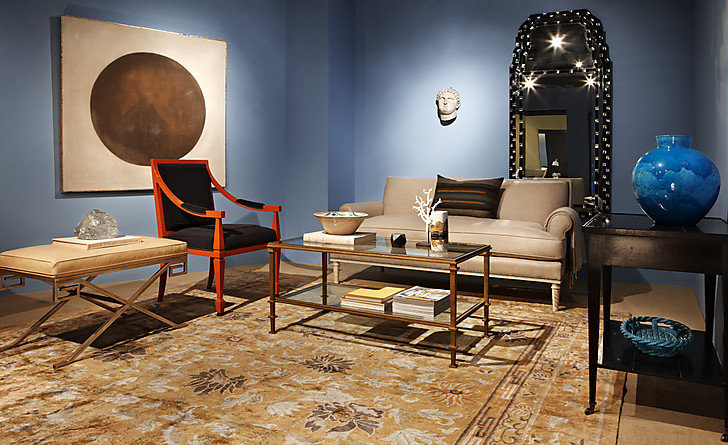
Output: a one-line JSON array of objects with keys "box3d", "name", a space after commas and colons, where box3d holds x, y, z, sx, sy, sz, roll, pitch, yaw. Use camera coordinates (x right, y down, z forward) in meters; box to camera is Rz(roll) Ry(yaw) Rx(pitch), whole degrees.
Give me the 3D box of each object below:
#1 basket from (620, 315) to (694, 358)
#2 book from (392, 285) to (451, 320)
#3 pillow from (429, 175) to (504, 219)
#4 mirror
[{"box3d": [1.754, 0.667, 2.768, 0.301, 0.082, 0.289, -7, 9, -36], "name": "basket"}, {"box3d": [0.425, 0.557, 3.292, 0.237, 0.086, 0.287, 2, 3, 25], "name": "book"}, {"box3d": [1.042, -0.283, 4.883, 0.763, 0.389, 0.239, 4, 22, -12], "name": "pillow"}, {"box3d": [2.149, -1.208, 5.026, 1.154, 2.089, 0.406, 5, 13, 15], "name": "mirror"}]
